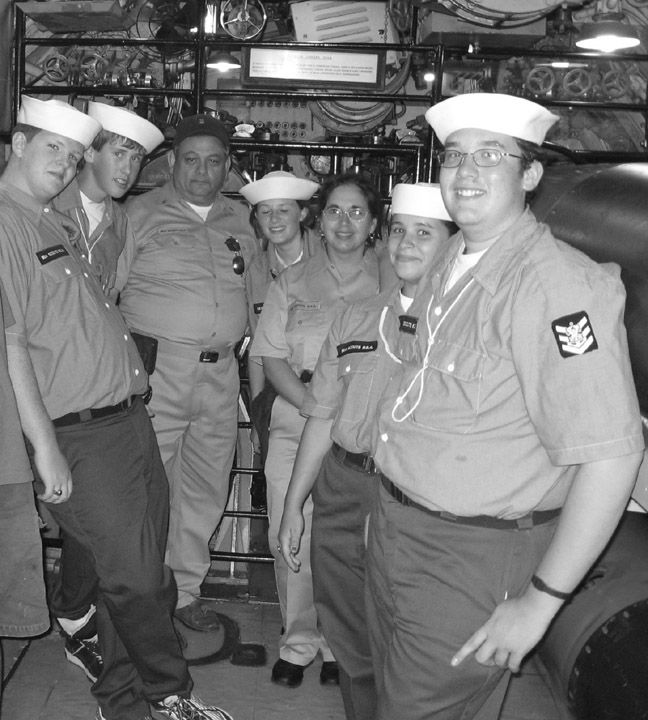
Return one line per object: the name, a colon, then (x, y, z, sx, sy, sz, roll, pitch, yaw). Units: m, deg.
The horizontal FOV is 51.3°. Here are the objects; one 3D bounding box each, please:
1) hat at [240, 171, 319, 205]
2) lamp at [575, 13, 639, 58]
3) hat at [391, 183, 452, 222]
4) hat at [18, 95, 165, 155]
hat: (-0.202, -0.657, 2.616, 0.183, 0.081, 0.180, -2, 9, 29)
lamp: (1.764, -2.013, 4.124, 0.365, 0.217, 0.480, 12, 24, 18)
hat: (0.259, -0.428, 1.837, 0.151, 0.097, 0.197, 1, 12, 3)
hat: (-0.666, -0.679, 1.970, 0.396, 0.128, 0.294, 4, 18, -46)
